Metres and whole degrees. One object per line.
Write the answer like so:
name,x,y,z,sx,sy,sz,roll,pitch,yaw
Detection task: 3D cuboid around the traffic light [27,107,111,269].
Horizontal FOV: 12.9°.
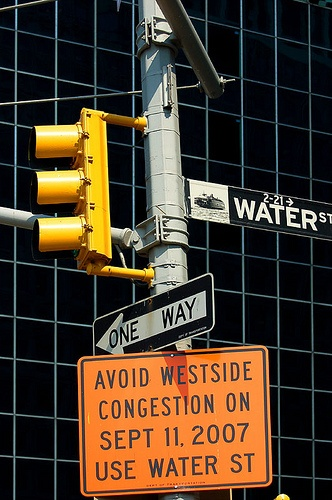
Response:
traffic light,-0.736,-0.514,11.392,0.570,1.250,0.603,-2,-3,-5

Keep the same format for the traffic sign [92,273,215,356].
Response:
traffic sign,-0.100,0.497,11.473,1.190,0.564,0.315,-6,-5,34
